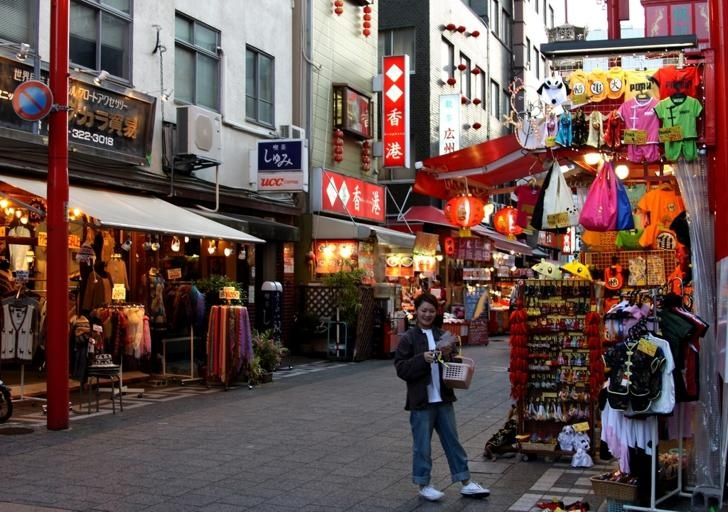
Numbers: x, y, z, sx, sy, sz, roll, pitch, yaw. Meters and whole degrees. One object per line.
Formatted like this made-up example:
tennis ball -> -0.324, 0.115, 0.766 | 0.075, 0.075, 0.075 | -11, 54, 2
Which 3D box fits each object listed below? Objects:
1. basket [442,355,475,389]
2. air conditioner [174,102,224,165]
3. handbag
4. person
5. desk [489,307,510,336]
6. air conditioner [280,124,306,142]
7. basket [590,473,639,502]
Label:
basket -> 1.096, 1.369, 8.323 | 0.279, 0.431, 0.420 | 1, -41, 15
air conditioner -> -3.554, -2.675, 16.007 | 0.372, 1.124, 0.935 | 0, -1, 44
handbag -> 2.971, -0.842, 9.993 | 1.276, 0.992, 0.452 | 0, 0, 41
person -> 0.829, 1.622, 8.418 | 0.927, 2.354, 0.547 | 1, -1, -1
desk -> 5.266, 2.619, 28.604 | 0.490, 1.144, 1.925 | 0, 0, 26
air conditioner -> -1.910, -3.360, 19.751 | 0.616, 0.386, 0.472 | 1, 0, -37
basket -> 2.747, 2.558, 8.018 | 0.342, 0.143, 0.280 | 0, -2, 22
